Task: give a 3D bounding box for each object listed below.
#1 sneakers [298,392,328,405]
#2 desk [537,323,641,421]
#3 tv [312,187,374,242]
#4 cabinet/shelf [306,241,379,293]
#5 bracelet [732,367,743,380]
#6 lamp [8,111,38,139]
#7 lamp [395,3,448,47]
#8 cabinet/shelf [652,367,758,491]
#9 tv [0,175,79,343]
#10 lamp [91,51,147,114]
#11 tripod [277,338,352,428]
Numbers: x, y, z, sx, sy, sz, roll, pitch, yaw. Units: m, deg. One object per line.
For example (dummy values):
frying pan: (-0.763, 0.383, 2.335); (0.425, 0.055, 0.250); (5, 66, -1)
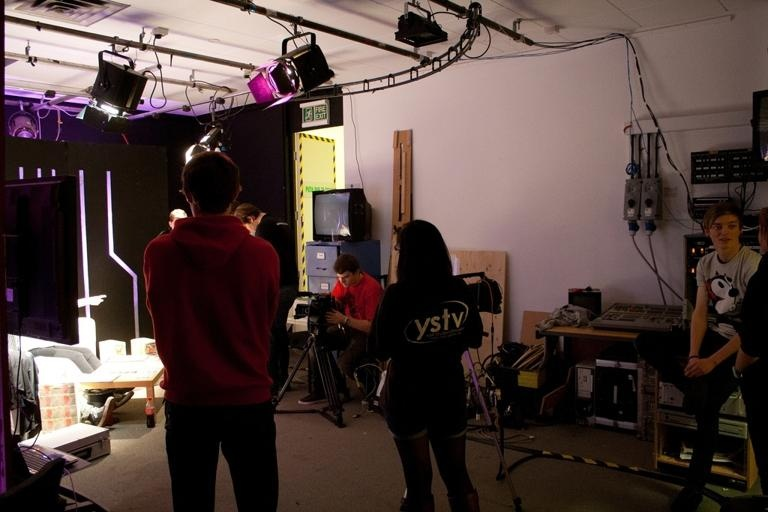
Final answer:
sneakers: (-0.760, 1.514, 6.228); (0.296, 0.126, 0.116); (2, -5, -15)
desk: (2.049, 1.092, 5.810); (0.917, 0.871, 0.877); (1, 2, 23)
tv: (-0.507, -0.463, 7.719); (0.853, 0.778, 0.629); (0, 1, 39)
cabinet/shelf: (-0.495, 0.043, 7.396); (0.654, 0.894, 0.862); (1, 11, -36)
bracelet: (2.568, 0.850, 4.259); (0.065, 0.088, 0.029); (8, 0, -14)
lamp: (-5.212, -1.919, 8.456); (0.430, 0.380, 0.254); (-2, 3, -44)
lamp: (0.335, -1.980, 5.199); (0.398, 0.307, 0.410); (8, 9, 33)
cabinet/shelf: (2.584, 1.258, 4.749); (0.689, 0.986, 0.517); (2, 18, 33)
tv: (-1.946, 0.017, 3.308); (0.909, 0.924, 0.097); (3, 5, 40)
lamp: (-2.838, -1.893, 6.246); (0.475, 0.591, 0.540); (9, 7, -38)
tripod: (-0.659, 1.235, 6.081); (0.838, 1.166, 0.735); (4, -2, -10)
